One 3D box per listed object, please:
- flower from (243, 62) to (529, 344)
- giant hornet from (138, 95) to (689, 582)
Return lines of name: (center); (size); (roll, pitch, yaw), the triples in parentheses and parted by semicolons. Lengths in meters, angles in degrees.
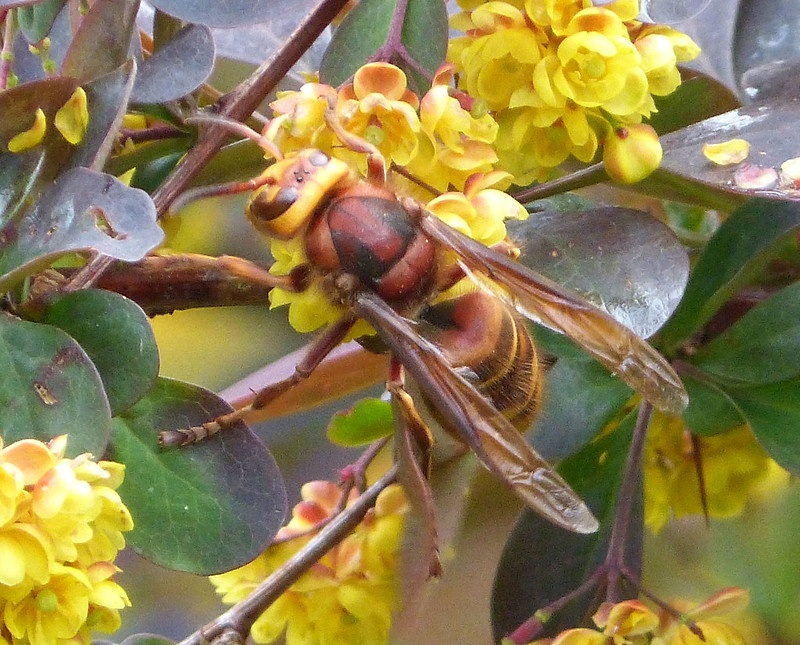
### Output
flower: (0.005, -0.106, 0.980); (0.218, 0.080, 0.214); (-8, 99, -10)
giant hornet: (0.013, 0.004, 1.133); (0.436, 0.130, 0.403); (39, 83, -4)
